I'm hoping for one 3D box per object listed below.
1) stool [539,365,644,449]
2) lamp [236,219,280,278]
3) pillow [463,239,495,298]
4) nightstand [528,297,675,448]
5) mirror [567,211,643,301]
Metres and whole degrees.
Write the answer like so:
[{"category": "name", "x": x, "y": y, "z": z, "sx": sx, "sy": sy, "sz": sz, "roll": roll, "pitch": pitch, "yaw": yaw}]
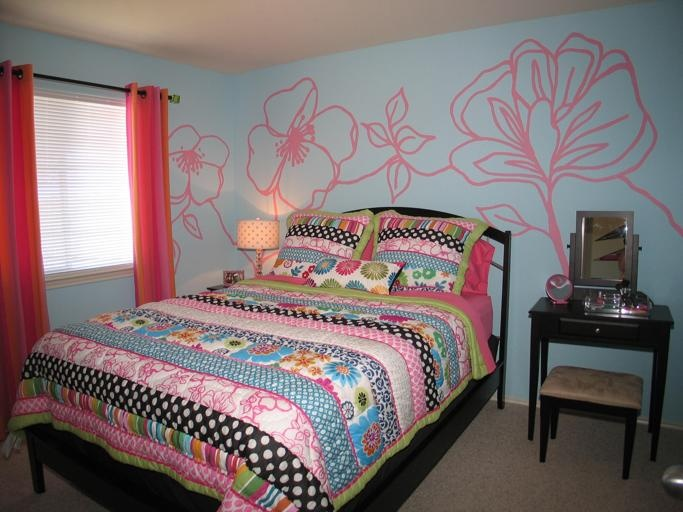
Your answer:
[{"category": "stool", "x": 1.507, "y": 0.806, "z": 2.923, "sx": 0.527, "sy": 0.126, "sz": 0.375, "roll": 6, "pitch": 14, "yaw": 27}, {"category": "lamp", "x": -0.758, "y": -0.065, "z": 4.426, "sx": 0.350, "sy": 0.551, "sz": 0.341, "roll": 0, "pitch": 13, "yaw": -9}, {"category": "pillow", "x": 1.017, "y": 0.102, "z": 3.598, "sx": 0.327, "sy": 0.363, "sz": 0.110, "roll": 8, "pitch": 0, "yaw": 15}, {"category": "nightstand", "x": 1.708, "y": 0.791, "z": 3.215, "sx": 0.824, "sy": 0.880, "sz": 0.631, "roll": 2, "pitch": -2, "yaw": 38}, {"category": "mirror", "x": 1.770, "y": 0.022, "z": 3.274, "sx": 0.425, "sy": 0.719, "sz": 0.028, "roll": 4, "pitch": -27, "yaw": 26}]
